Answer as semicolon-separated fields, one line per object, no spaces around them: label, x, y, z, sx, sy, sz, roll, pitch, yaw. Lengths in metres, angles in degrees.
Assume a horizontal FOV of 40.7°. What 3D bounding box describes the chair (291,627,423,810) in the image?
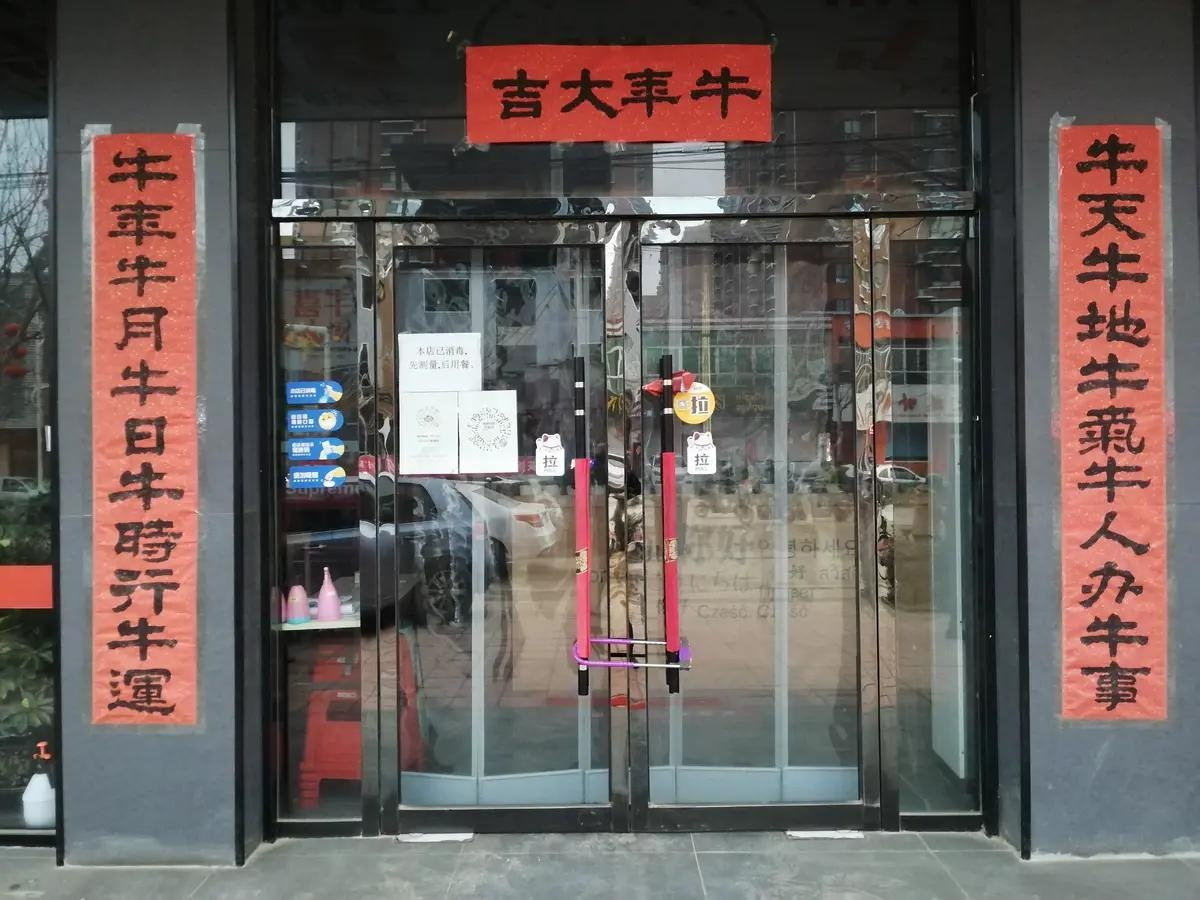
chair;-1.401;1.480;9.081;0.922;1.186;0.895;0;0;-1

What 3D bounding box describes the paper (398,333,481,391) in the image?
paper;-0.896;-0.475;8.884;0.341;0.227;0.044;-1;3;-4
